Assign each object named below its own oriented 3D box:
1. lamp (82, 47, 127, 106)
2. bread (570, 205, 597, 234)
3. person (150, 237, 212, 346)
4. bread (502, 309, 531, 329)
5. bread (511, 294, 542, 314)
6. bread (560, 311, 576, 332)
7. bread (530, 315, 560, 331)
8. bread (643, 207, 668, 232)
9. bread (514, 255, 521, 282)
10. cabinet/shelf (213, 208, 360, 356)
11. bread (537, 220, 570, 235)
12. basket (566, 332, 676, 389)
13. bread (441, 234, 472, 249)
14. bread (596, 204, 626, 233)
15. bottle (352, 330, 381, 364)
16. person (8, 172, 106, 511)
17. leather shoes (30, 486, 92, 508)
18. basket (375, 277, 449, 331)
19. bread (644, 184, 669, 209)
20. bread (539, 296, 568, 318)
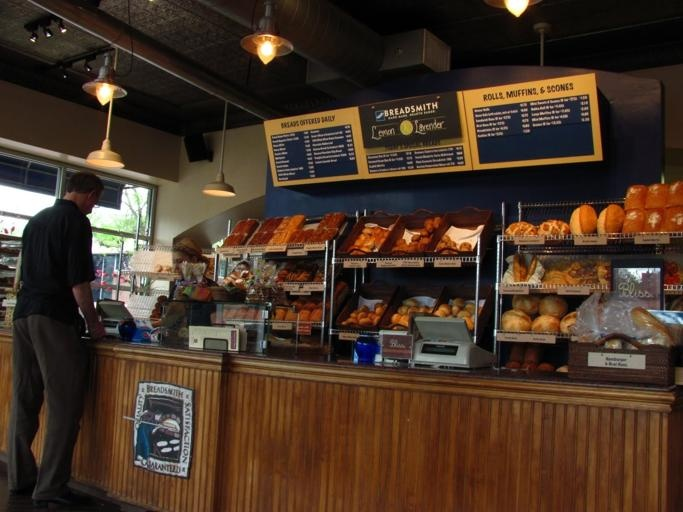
[{"bbox_3d":[-2.124,-1.636,4.952,0.324,0.515,0.405,4,-6,-23],"label":"lamp"},{"bbox_3d":[1.795,-0.268,4.074,0.119,0.217,0.168,-2,-13,36],"label":"bread"},{"bbox_3d":[-1.143,0.221,3.954,0.394,0.778,1.107,4,-6,-17],"label":"person"},{"bbox_3d":[1.321,0.488,4.142,0.218,0.161,0.128,1,-6,11],"label":"bread"},{"bbox_3d":[1.411,0.369,4.243,0.149,0.150,0.159,-1,-27,19],"label":"bread"},{"bbox_3d":[1.638,0.483,3.980,0.100,0.154,0.252,-1,-6,23],"label":"bread"},{"bbox_3d":[1.501,0.497,4.043,0.194,0.128,0.102,0,-6,20],"label":"bread"},{"bbox_3d":[2.175,-0.246,3.804,0.138,0.173,0.096,-2,-7,32],"label":"bread"},{"bbox_3d":[1.354,0.101,4.214,0.052,0.195,0.040,7,-23,8],"label":"bread"},{"bbox_3d":[-0.389,0.220,4.461,1.274,1.188,0.462,-4,-11,29],"label":"cabinet/shelf"},{"bbox_3d":[1.595,-0.199,4.096,0.149,0.053,0.145,3,-4,-17],"label":"bread"},{"bbox_3d":[1.298,0.490,2.531,0.343,0.178,0.246,-2,-5,36],"label":"basket"},{"bbox_3d":[0.953,-0.109,4.477,0.159,0.036,0.158,2,34,25],"label":"bread"},{"bbox_3d":[1.941,-0.256,3.944,0.187,0.228,0.109,0,-6,15],"label":"bread"},{"bbox_3d":[0.144,0.544,3.265,0.188,0.306,0.171,2,-12,0],"label":"bottle"},{"bbox_3d":[-1.830,0.558,3.466,0.515,1.858,0.299,2,-6,-3],"label":"person"},{"bbox_3d":[-1.686,1.462,3.334,0.336,0.082,0.181,4,-6,-22],"label":"leather shoes"},{"bbox_3d":[0.563,0.413,4.530,0.291,0.183,0.537,4,31,22],"label":"basket"},{"bbox_3d":[2.224,-0.409,3.877,0.101,0.179,0.149,32,-27,-32],"label":"bread"},{"bbox_3d":[1.587,0.375,4.122,0.172,0.091,0.165,8,7,24],"label":"bread"}]
